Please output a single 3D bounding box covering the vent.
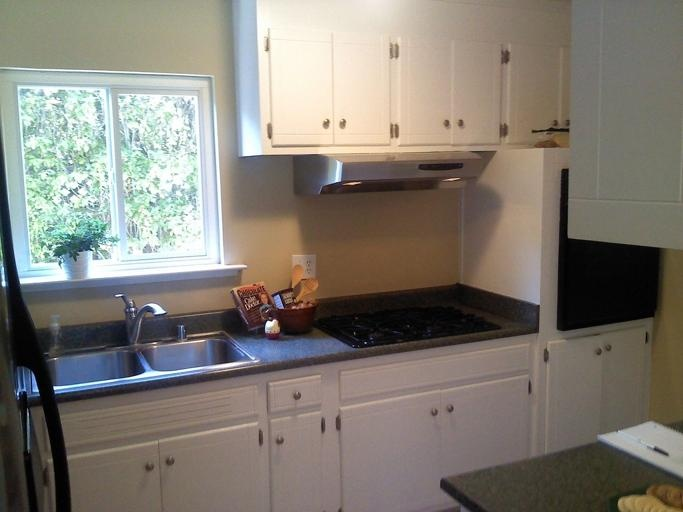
[{"bbox_3d":[0.247,-0.412,2.904,0.943,0.231,0.494,-2,13,-10],"label":"vent"}]

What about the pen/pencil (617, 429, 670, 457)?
[{"bbox_3d":[0.966,0.599,1.865,0.028,0.029,0.218,-22,21,-22],"label":"pen/pencil"}]

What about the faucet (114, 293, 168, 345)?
[{"bbox_3d":[-0.957,0.306,2.703,0.201,0.249,0.322,-5,13,-22],"label":"faucet"}]

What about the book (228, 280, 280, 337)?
[{"bbox_3d":[-0.448,0.275,2.906,0.236,0.236,0.064,-24,-3,-36],"label":"book"}]

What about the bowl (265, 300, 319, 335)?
[{"bbox_3d":[-0.244,0.322,2.920,0.174,0.107,0.176,-2,5,0],"label":"bowl"}]

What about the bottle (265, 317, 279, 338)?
[{"bbox_3d":[-0.340,0.363,2.854,0.068,0.087,0.087,0,-3,3],"label":"bottle"}]

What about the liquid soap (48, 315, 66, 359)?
[{"bbox_3d":[-1.325,0.369,2.623,0.050,0.187,0.051,-4,13,-16],"label":"liquid soap"}]

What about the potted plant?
[{"bbox_3d":[-1.247,-0.074,2.738,0.289,0.297,0.308,8,11,43],"label":"potted plant"}]
